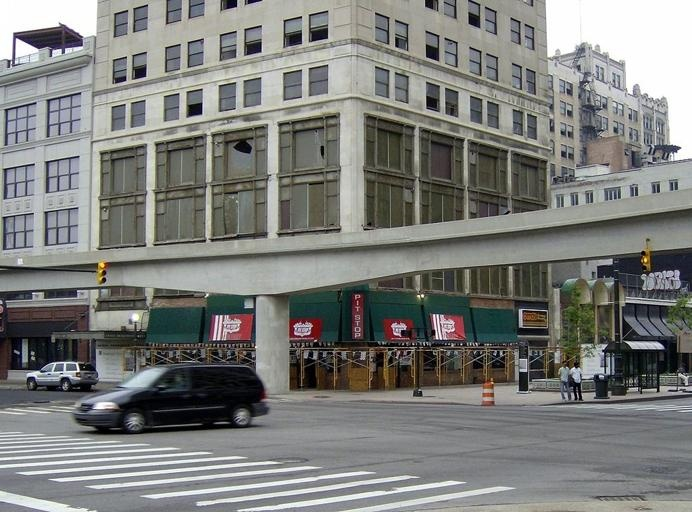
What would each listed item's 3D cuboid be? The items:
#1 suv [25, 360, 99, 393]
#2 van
[{"bbox_3d":[-17.520,7.669,63.003,4.294,1.595,2.119,1,-5,31],"label":"suv"},{"bbox_3d":[-6.463,5.492,38.350,6.357,2.018,2.804,6,-11,-33],"label":"van"}]
